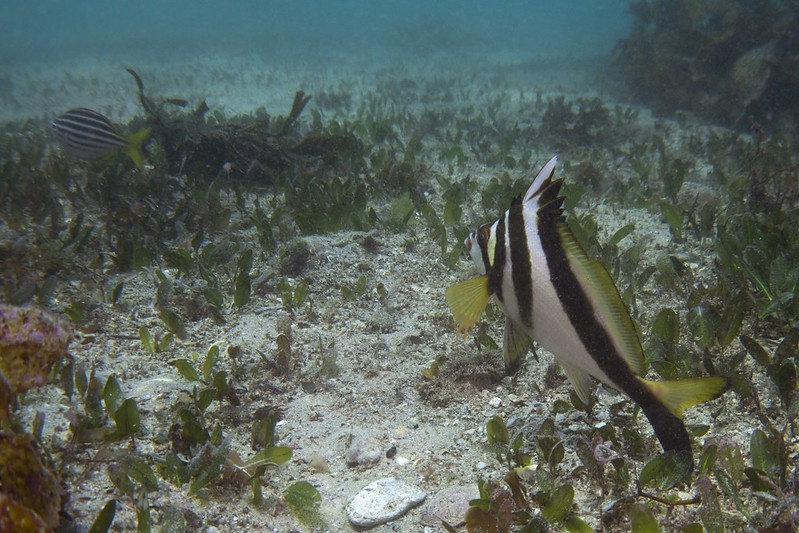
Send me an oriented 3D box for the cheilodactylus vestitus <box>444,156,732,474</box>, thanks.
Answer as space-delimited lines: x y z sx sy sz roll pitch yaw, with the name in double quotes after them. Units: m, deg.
2.104 0.526 8.780 2.992 2.839 0.941 9 29 18 "cheilodactylus vestitus"
